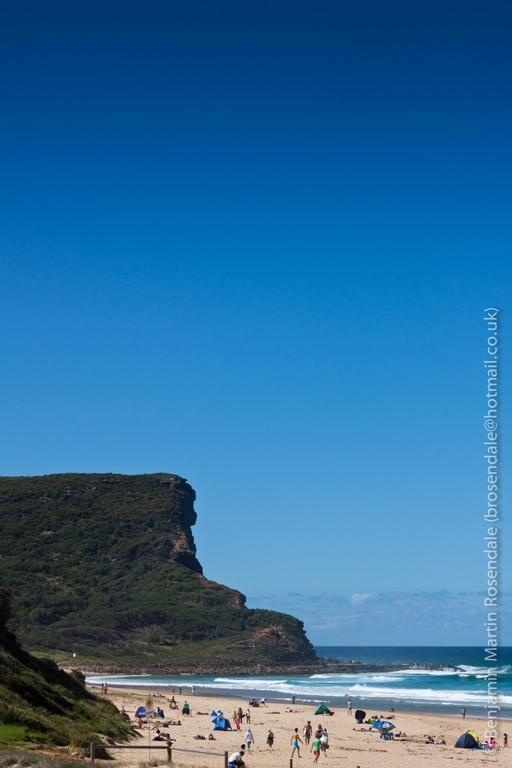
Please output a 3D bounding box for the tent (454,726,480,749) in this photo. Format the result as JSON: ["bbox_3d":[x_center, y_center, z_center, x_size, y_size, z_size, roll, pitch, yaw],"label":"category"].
[{"bbox_3d":[13.922,23.169,88.592,1.608,1.022,1.781,0,-14,9],"label":"tent"}]
